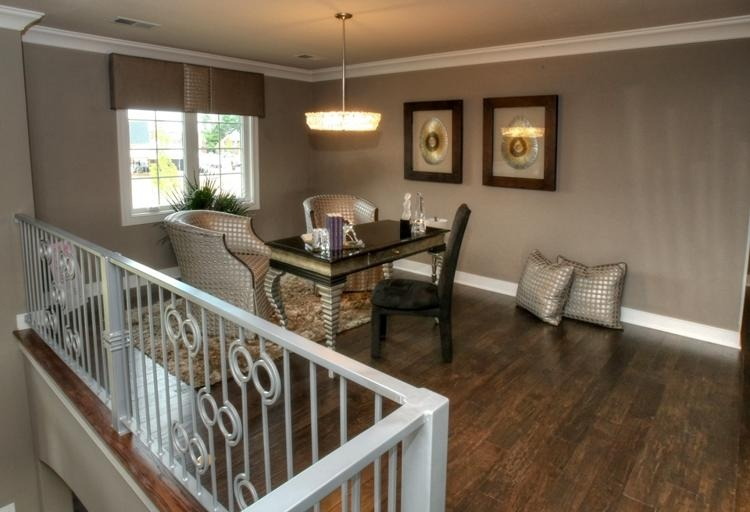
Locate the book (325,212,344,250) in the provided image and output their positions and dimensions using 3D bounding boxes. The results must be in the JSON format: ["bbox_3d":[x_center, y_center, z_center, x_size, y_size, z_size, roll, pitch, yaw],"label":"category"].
[{"bbox_3d":[-0.362,-0.198,4.583,0.155,0.309,0.225,-1,12,-5],"label":"book"}]

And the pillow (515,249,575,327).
[{"bbox_3d":[1.847,0.354,5.605,0.311,0.617,0.655,-11,19,-24],"label":"pillow"}]

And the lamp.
[{"bbox_3d":[-0.324,-1.846,5.109,0.727,1.179,0.768,1,16,-3],"label":"lamp"}]

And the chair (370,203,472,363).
[{"bbox_3d":[0.416,0.271,4.844,0.898,1.429,0.730,3,7,8],"label":"chair"}]

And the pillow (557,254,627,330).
[{"bbox_3d":[2.282,0.415,5.522,0.757,0.730,0.345,7,4,33],"label":"pillow"}]

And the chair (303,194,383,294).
[{"bbox_3d":[-0.405,-0.158,6.118,0.827,1.174,0.891,-8,6,-25],"label":"chair"}]

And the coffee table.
[{"bbox_3d":[-0.328,0.111,5.217,0.787,0.795,1.538,13,25,28],"label":"coffee table"}]

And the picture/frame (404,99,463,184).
[{"bbox_3d":[0.776,-1.495,6.483,0.927,1.135,0.089,12,19,42],"label":"picture/frame"}]

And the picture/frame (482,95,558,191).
[{"bbox_3d":[1.712,-1.331,5.849,0.103,1.323,0.967,-13,15,-42],"label":"picture/frame"}]
